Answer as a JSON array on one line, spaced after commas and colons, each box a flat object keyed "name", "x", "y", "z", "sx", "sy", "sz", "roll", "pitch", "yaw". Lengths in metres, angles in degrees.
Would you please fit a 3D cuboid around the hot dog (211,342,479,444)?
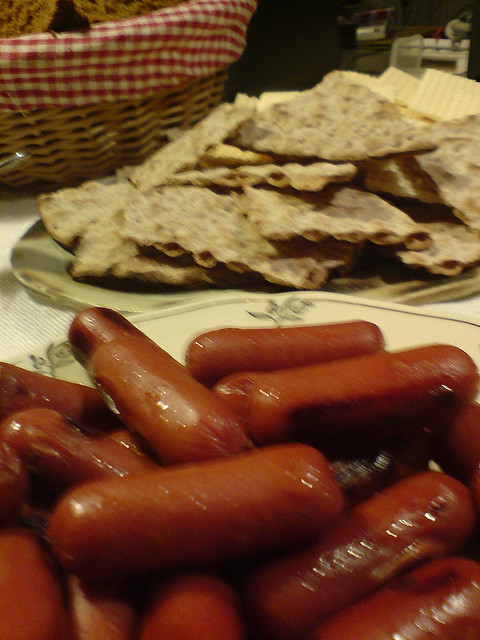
[{"name": "hot dog", "x": 0.075, "y": 0.048, "z": 0.384, "sx": 0.200, "sy": 0.056, "sz": 0.052, "roll": -4, "pitch": 48, "yaw": -9}]

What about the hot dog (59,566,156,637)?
[{"name": "hot dog", "x": -0.063, "y": 0.132, "z": 0.258, "sx": 0.044, "sy": 0.011, "sz": 0.030, "roll": 19, "pitch": 27, "yaw": 35}]

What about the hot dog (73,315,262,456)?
[{"name": "hot dog", "x": -0.051, "y": 0.026, "z": 0.388, "sx": 0.046, "sy": 0.051, "sz": 0.169, "roll": -43, "pitch": 52, "yaw": -19}]

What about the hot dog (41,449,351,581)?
[{"name": "hot dog", "x": -0.021, "y": 0.097, "z": 0.280, "sx": 0.136, "sy": 0.038, "sz": 0.043, "roll": -5, "pitch": 2, "yaw": -22}]

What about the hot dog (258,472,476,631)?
[{"name": "hot dog", "x": 0.060, "y": 0.114, "z": 0.272, "sx": 0.128, "sy": 0.034, "sz": 0.045, "roll": -20, "pitch": 30, "yaw": -14}]

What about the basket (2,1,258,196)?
[{"name": "basket", "x": -0.177, "y": -0.365, "z": 0.935, "sx": 0.454, "sy": 0.300, "sz": 0.226, "roll": -24, "pitch": 43, "yaw": -33}]
